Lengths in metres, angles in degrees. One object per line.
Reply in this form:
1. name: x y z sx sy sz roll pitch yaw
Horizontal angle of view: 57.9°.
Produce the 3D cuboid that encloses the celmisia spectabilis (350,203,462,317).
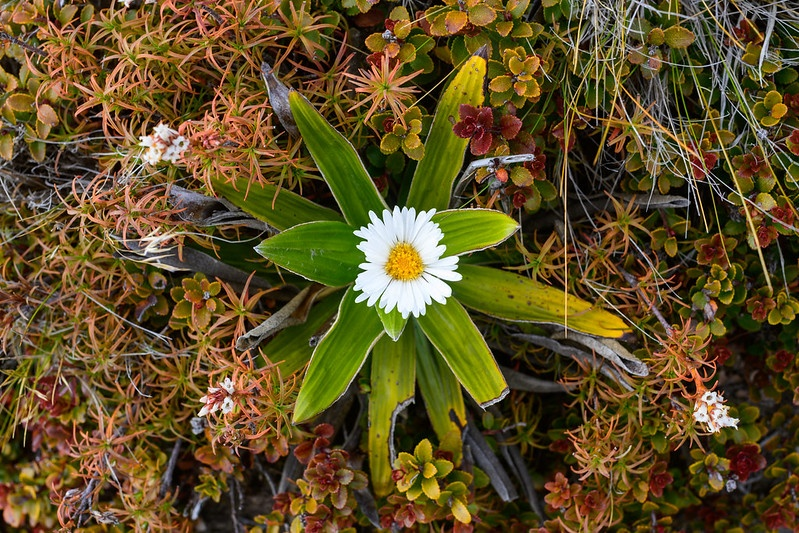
1. celmisia spectabilis: 0.028 0.009 2.913 0.412 0.344 0.386 -2 60 1
